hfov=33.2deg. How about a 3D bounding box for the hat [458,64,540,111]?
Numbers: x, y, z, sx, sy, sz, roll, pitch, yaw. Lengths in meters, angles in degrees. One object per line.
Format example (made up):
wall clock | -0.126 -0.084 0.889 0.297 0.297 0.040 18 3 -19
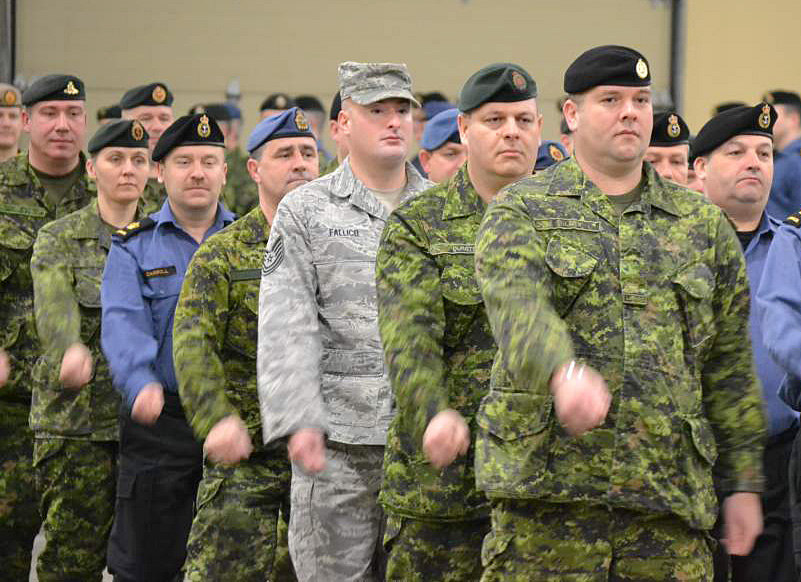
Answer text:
hat | 0.483 -1.071 6.873 0.425 0.158 0.451 -24 20 -24

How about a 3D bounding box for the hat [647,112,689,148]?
hat | 1.784 -1.044 8.933 0.357 0.205 0.461 -5 -1 1

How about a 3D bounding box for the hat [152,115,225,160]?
hat | -1.332 -1.005 8.337 0.452 0.167 0.388 5 28 42

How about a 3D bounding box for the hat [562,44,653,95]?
hat | 0.984 -1.020 6.241 0.420 0.204 0.449 -2 4 -37

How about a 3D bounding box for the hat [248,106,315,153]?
hat | -0.785 -0.956 8.062 0.406 0.160 0.367 -18 4 31
